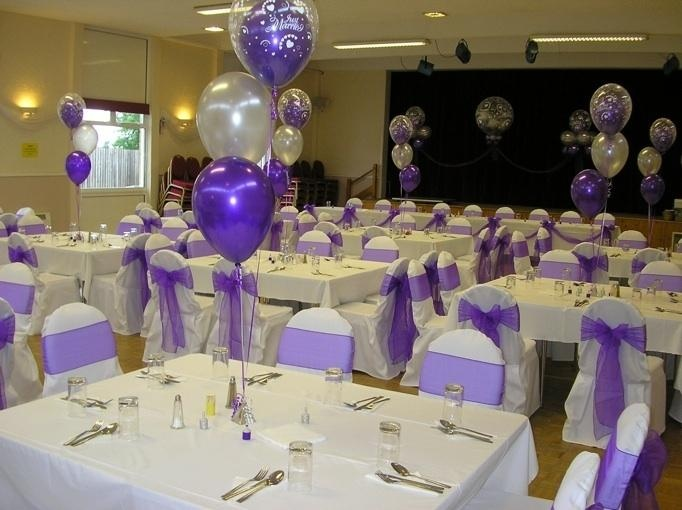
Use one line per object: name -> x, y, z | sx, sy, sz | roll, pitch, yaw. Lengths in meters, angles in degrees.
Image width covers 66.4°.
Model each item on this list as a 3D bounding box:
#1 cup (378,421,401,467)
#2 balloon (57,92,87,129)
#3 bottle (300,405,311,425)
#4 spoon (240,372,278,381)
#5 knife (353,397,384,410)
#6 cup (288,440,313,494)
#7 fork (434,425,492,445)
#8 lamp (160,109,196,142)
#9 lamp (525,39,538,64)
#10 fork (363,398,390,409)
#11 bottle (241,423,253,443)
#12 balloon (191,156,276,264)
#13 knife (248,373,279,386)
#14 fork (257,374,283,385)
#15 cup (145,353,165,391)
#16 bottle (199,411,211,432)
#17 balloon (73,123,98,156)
cup -> 0.192, 0.764, 2.106 | 0.080, 0.171, 0.060 | 1, 9, 2
balloon -> -4.478, -2.380, 8.656 | 0.332, 0.559, 0.433 | -2, 10, -17
bottle -> -0.180, 0.789, 2.531 | 0.040, 0.091, 0.044 | 1, -1, 26
spoon -> -0.451, 0.705, 3.005 | 0.057, 0.017, 0.163 | 3, 2, 27
knife -> 0.151, 0.777, 2.729 | 0.055, 0.031, 0.183 | 7, 13, 31
cup -> -0.153, 0.779, 1.944 | 0.089, 0.170, 0.104 | 0, 10, -6
fork -> 0.569, 0.824, 2.439 | 0.272, 0.059, 0.082 | 10, 0, 17
lamp -> -4.511, -3.532, 14.549 | 0.234, 0.731, 1.331 | 6, 11, 30
lamp -> 4.224, -4.554, 11.557 | 0.215, 0.536, 0.823 | 4, 10, 18
fork -> 0.185, 0.781, 2.732 | 0.045, 0.019, 0.083 | 9, 11, 30
bottle -> -0.426, 0.804, 2.344 | 0.044, 0.092, 0.044 | 2, 0, 0
balloon -> -0.461, -0.261, 2.564 | 0.373, 0.609, 0.426 | -3, 15, -5
knife -> -0.447, 0.710, 2.987 | 0.056, 0.016, 0.169 | 5, 3, 24
fork -> -0.413, 0.712, 2.999 | 0.038, 0.016, 0.127 | 12, 7, 18
cup -> -1.023, 0.649, 2.894 | 0.123, 0.215, 0.133 | 2, 3, 0
bottle -> -0.626, 0.779, 2.421 | 0.051, 0.109, 0.058 | 0, 0, 5
balloon -> -4.162, -1.870, 8.468 | 0.355, 0.485, 0.393 | -4, 11, -29
